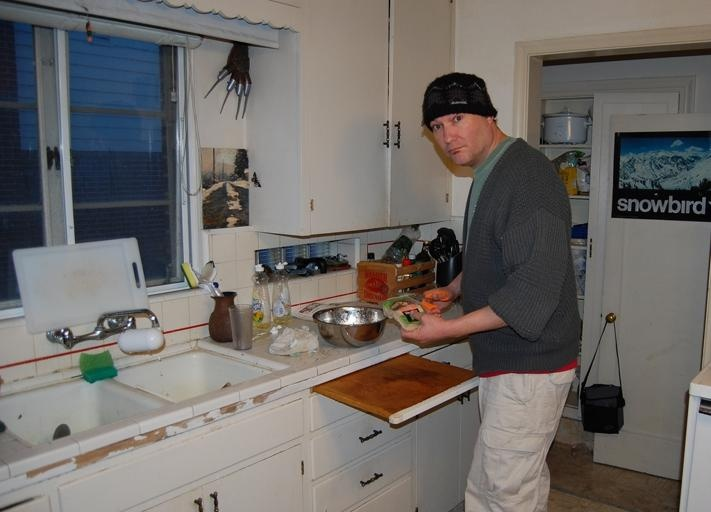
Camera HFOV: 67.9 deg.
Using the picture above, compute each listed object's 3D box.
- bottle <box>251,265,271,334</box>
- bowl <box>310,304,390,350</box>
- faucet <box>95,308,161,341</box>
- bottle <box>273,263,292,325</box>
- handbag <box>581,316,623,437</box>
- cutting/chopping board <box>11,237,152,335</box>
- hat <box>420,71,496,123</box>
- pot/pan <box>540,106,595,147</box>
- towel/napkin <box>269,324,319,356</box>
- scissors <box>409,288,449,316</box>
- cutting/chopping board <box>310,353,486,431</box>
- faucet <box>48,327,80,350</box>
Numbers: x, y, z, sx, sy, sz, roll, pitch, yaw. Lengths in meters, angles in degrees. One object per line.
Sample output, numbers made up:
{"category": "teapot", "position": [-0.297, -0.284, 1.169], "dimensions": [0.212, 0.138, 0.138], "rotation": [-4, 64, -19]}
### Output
{"category": "bottle", "position": [-0.503, 0.224, 2.816], "dimensions": [0.101, 0.291, 0.253], "rotation": [-4, 9, -11]}
{"category": "bowl", "position": [-0.009, 0.354, 2.645], "dimensions": [0.383, 0.139, 0.373], "rotation": [-2, 9, 0]}
{"category": "faucet", "position": [-0.958, 0.283, 2.193], "dimensions": [0.268, 0.110, 0.088], "rotation": [-10, 18, -5]}
{"category": "bottle", "position": [-0.404, 0.217, 2.829], "dimensions": [0.088, 0.282, 0.093], "rotation": [-2, 8, 0]}
{"category": "handbag", "position": [1.768, 0.821, 3.791], "dimensions": [0.290, 0.860, 0.406], "rotation": [1, 9, 25]}
{"category": "cutting/chopping board", "position": [-1.178, 0.131, 2.228], "dimensions": [0.366, 0.256, 0.015], "rotation": [-21, 8, -38]}
{"category": "hat", "position": [0.418, -0.649, 2.135], "dimensions": [0.234, 0.148, 0.226], "rotation": [-14, 18, -35]}
{"category": "pot/pan", "position": [1.769, -1.060, 4.512], "dimensions": [0.390, 0.280, 0.367], "rotation": [3, 6, -5]}
{"category": "towel/napkin", "position": [-0.282, 0.377, 2.481], "dimensions": [0.128, 0.063, 0.166], "rotation": [0, 4, 11]}
{"category": "scissors", "position": [0.333, 0.215, 2.325], "dimensions": [0.105, 0.046, 0.152], "rotation": [16, 25, 37]}
{"category": "cutting/chopping board", "position": [0.153, 0.583, 2.348], "dimensions": [0.541, 0.046, 0.665], "rotation": [-13, 5, -28]}
{"category": "faucet", "position": [-1.216, 0.335, 2.177], "dimensions": [0.169, 0.083, 0.068], "rotation": [4, 11, 36]}
